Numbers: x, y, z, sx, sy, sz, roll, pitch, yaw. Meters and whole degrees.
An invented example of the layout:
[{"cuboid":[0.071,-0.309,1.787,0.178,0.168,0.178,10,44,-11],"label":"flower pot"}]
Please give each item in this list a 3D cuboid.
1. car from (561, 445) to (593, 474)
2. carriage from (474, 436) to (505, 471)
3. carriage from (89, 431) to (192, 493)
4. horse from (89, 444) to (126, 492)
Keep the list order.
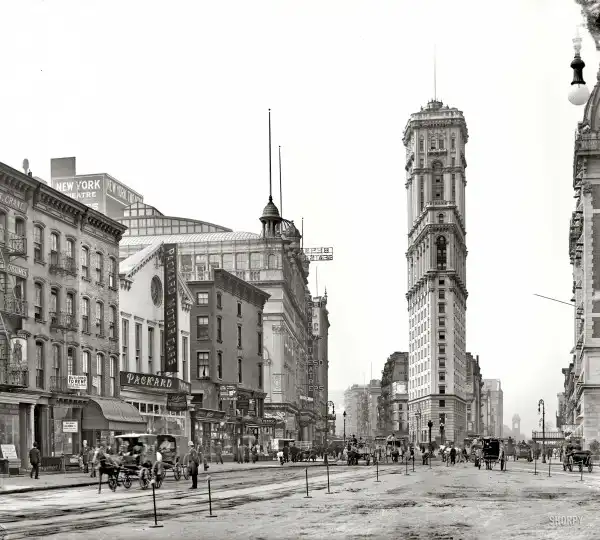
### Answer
[{"cuboid":[16.184,10.861,89.114,1.199,1.095,2.237,1,-12,-2],"label":"car"},{"cuboid":[11.865,11.406,95.353,1.670,1.861,4.955,0,-13,1],"label":"carriage"},{"cuboid":[-7.136,8.932,72.993,2.096,2.548,7.988,-5,-12,15],"label":"carriage"},{"cuboid":[-8.539,8.935,69.445,0.757,1.940,3.100,-2,-7,15],"label":"horse"}]
